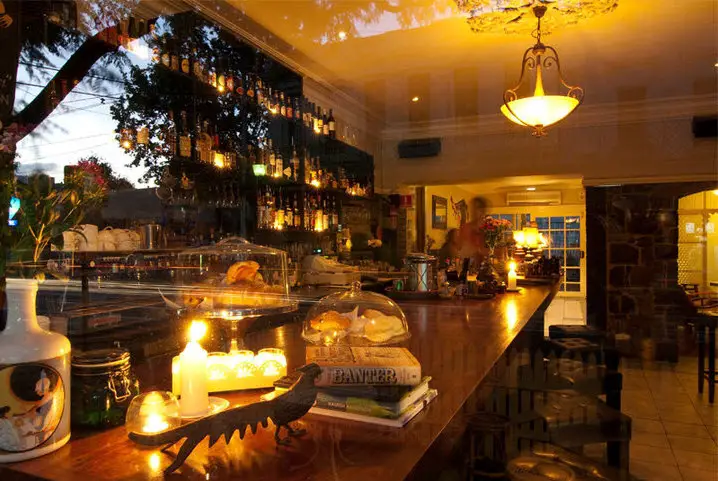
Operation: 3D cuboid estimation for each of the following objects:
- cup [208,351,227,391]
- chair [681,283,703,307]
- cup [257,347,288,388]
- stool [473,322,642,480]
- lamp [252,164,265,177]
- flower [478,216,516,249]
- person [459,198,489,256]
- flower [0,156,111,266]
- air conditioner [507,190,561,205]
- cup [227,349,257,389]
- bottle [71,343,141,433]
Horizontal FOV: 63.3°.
[{"bbox_3d":[-0.568,0.545,2.437,0.120,0.133,0.119,0,2,0],"label":"cup"},{"bbox_3d":[3.335,0.533,5.811,0.230,0.223,0.229,-2,3,14],"label":"chair"},{"bbox_3d":[-0.363,0.513,2.408,0.140,0.150,0.134,0,1,0],"label":"cup"},{"bbox_3d":[1.164,0.910,3.385,0.858,0.274,1.068,7,6,33],"label":"stool"},{"bbox_3d":[-0.866,-0.603,5.071,0.096,0.059,0.095,2,9,2],"label":"lamp"},{"bbox_3d":[1.206,-0.068,5.076,0.269,0.270,0.271,-1,1,33],"label":"flower"},{"bbox_3d":[1.446,-0.085,7.672,0.230,0.965,0.334,2,19,-7],"label":"person"},{"bbox_3d":[-1.182,-0.096,2.271,0.327,0.251,0.115,1,-1,-28],"label":"flower"},{"bbox_3d":[3.472,-0.839,11.575,1.058,0.281,0.174,0,-1,23],"label":"air conditioner"},{"bbox_3d":[-0.479,0.529,2.460,0.133,0.146,0.133,-2,-6,0],"label":"cup"},{"bbox_3d":[-0.982,0.554,2.321,0.282,0.292,0.279,1,1,45],"label":"bottle"}]
